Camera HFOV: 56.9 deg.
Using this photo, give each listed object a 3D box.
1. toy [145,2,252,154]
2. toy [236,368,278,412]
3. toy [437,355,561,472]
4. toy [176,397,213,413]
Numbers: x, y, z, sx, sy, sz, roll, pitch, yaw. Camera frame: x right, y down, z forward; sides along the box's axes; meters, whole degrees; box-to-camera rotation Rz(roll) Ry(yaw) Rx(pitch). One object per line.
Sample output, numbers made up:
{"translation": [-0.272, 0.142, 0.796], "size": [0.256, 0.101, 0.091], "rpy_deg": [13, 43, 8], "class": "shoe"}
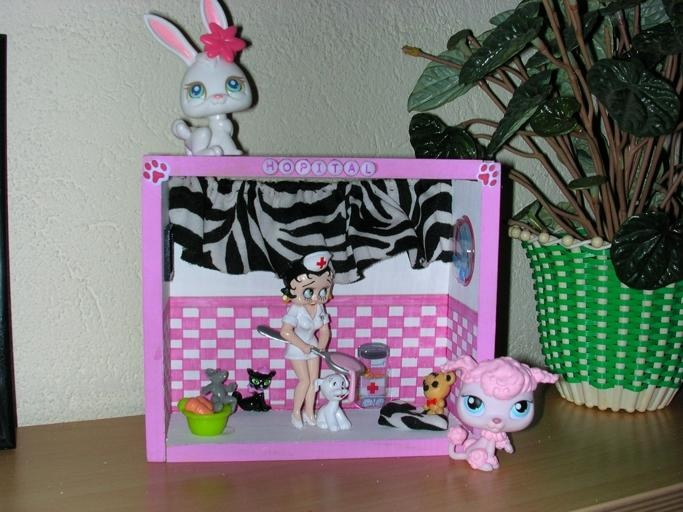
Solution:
{"translation": [-0.265, -0.344, 1.193], "size": [0.192, 0.302, 0.252], "rpy_deg": [-5, 11, -8], "class": "toy"}
{"translation": [-0.184, 0.287, 1.342], "size": [0.091, 0.103, 0.068], "rpy_deg": [1, -1, -9], "class": "toy"}
{"translation": [0.281, 0.300, 1.166], "size": [0.200, 0.191, 0.108], "rpy_deg": [1, 4, 4], "class": "toy"}
{"translation": [-0.270, 0.277, 1.161], "size": [0.043, 0.012, 0.031], "rpy_deg": [-8, 48, -11], "class": "toy"}
